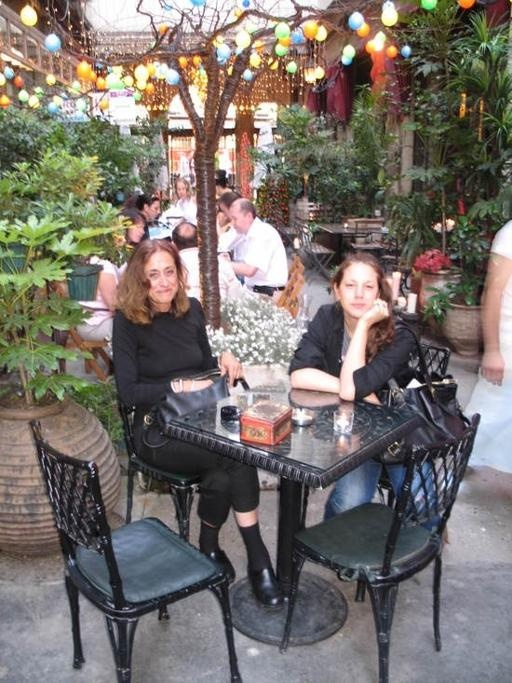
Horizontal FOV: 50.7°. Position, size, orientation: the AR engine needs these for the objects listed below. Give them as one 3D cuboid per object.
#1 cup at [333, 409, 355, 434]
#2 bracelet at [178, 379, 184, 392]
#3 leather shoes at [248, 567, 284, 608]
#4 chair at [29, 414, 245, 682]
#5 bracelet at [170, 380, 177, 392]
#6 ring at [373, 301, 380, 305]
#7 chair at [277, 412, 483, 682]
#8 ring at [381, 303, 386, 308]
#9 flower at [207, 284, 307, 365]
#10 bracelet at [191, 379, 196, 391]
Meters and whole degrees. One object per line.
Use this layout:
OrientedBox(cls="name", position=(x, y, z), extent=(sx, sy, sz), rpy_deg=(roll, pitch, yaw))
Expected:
OrientedBox(cls="cup", position=(0.299, 0.273, 1.843), extent=(0.065, 0.065, 0.060), rpy_deg=(-1, 18, 0))
OrientedBox(cls="bracelet", position=(-0.320, 0.189, 2.318), extent=(0.016, 0.049, 0.020), rpy_deg=(-2, -7, -13))
OrientedBox(cls="leather shoes", position=(0.035, 0.983, 2.173), extent=(0.088, 0.085, 0.200), rpy_deg=(-3, -1, -21))
OrientedBox(cls="chair", position=(-0.435, 0.756, 1.945), extent=(0.646, 0.969, 0.552), rpy_deg=(-13, 27, -35))
OrientedBox(cls="bracelet", position=(-0.350, 0.191, 2.304), extent=(0.035, 0.043, 0.017), rpy_deg=(8, -18, -12))
OrientedBox(cls="ring", position=(0.477, -0.152, 2.152), extent=(0.019, 0.007, 0.019), rpy_deg=(-28, 25, 14))
OrientedBox(cls="chair", position=(0.411, 0.643, 1.800), extent=(0.460, 0.864, 0.505), rpy_deg=(11, 17, 43))
OrientedBox(cls="ring", position=(0.509, -0.143, 2.161), extent=(0.016, 0.004, 0.017), rpy_deg=(7, 22, -3))
OrientedBox(cls="flower", position=(-0.010, -0.071, 3.751), extent=(0.578, 0.253, 0.546), rpy_deg=(17, 43, 12))
OrientedBox(cls="bracelet", position=(-0.270, 0.187, 2.323), extent=(0.023, 0.039, 0.010), rpy_deg=(-2, -14, 4))
